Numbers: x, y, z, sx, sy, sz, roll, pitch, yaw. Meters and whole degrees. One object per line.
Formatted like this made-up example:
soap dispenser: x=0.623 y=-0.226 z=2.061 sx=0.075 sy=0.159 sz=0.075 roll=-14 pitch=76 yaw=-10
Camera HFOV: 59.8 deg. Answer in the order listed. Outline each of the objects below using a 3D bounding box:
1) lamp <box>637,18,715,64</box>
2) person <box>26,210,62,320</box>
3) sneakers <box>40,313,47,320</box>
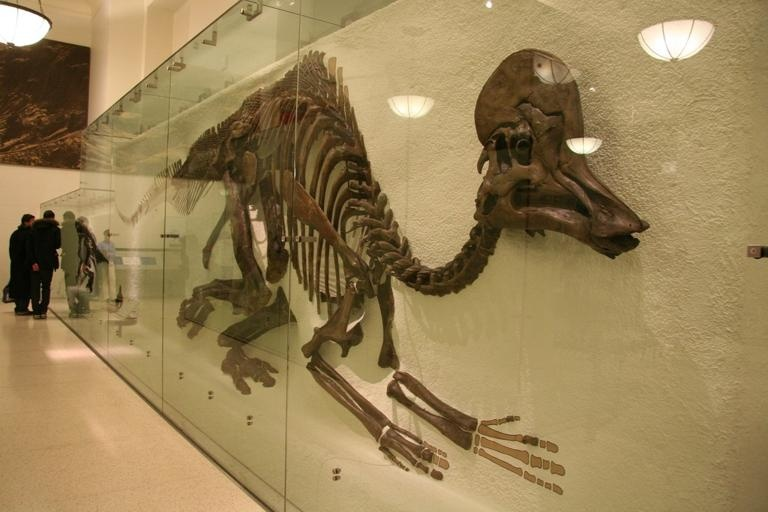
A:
lamp: x=1.122 y=-0.789 z=2.557 sx=0.262 sy=0.101 sz=0.256 roll=7 pitch=-3 yaw=3
person: x=-4.840 y=0.129 z=9.511 sx=0.390 sy=1.548 sz=0.609 roll=2 pitch=2 yaw=-27
sneakers: x=-4.929 y=0.882 z=9.655 sx=0.114 sy=0.090 sz=0.061 roll=2 pitch=-6 yaw=-44
